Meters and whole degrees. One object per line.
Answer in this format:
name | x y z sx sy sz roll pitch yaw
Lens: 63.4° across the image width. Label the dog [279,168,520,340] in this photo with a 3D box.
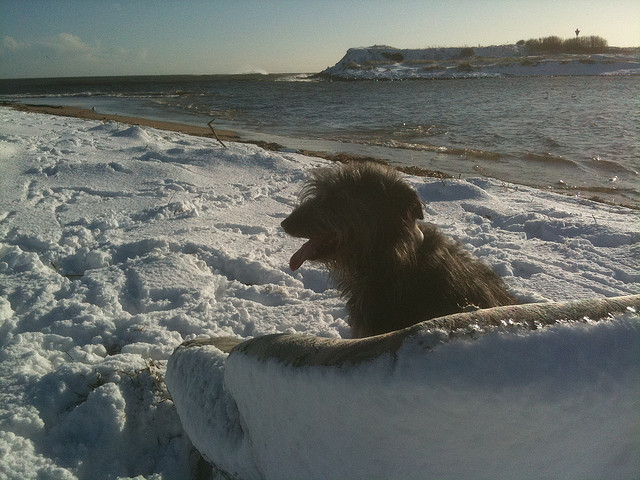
dog | 0.437 0.083 3.126 1.246 0.986 0.729 15 25 37
